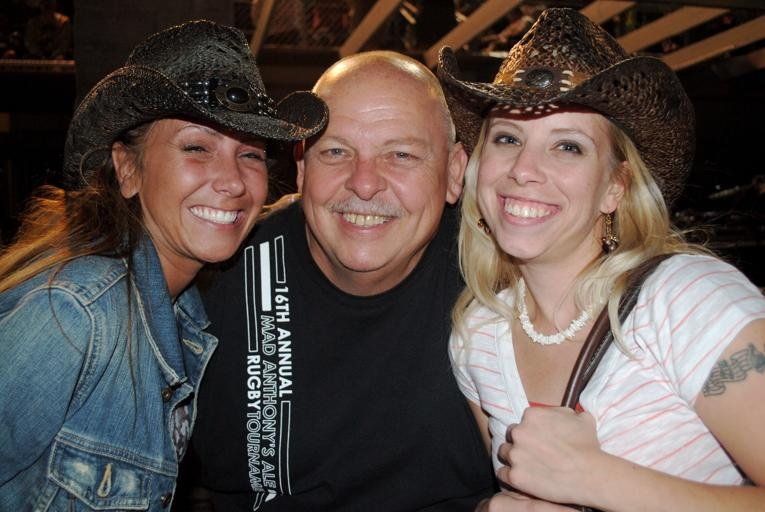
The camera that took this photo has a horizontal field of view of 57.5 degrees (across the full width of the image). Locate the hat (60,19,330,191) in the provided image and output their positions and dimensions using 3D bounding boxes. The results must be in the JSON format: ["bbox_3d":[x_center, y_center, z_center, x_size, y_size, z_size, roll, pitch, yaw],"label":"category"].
[{"bbox_3d":[-0.979,-0.817,3.590,1.228,0.498,0.934,-14,-16,18],"label":"hat"}]

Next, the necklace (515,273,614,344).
[{"bbox_3d":[0.927,0.266,3.457,0.290,0.316,0.079,-11,-15,10],"label":"necklace"}]
